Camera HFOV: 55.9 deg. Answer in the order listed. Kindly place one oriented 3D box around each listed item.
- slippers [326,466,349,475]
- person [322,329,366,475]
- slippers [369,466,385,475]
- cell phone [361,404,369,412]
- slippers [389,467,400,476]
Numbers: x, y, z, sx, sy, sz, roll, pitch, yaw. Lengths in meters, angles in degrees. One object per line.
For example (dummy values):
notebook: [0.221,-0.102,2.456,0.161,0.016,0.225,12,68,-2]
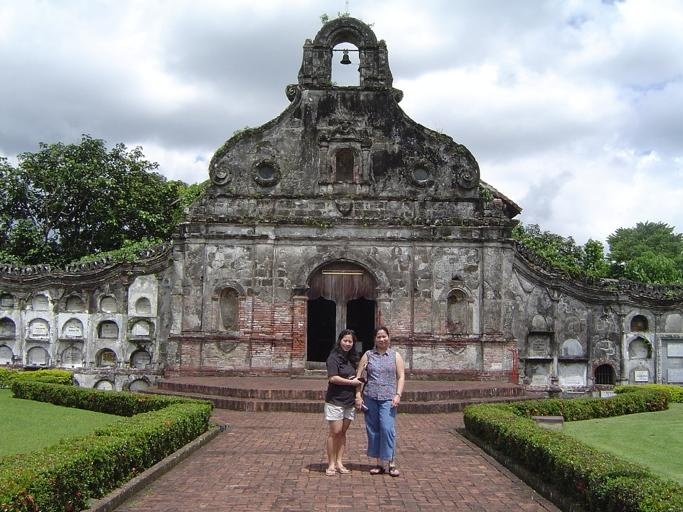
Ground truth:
slippers: [-0.065,3.565,10.699,0.166,0.075,0.312,10,-18,-42]
person: [0.050,2.438,10.853,0.635,2.412,0.486,0,-8,-1]
slippers: [0.612,3.585,10.864,0.248,0.137,0.357,0,-9,2]
cell phone: [0.390,2.558,10.833,0.098,0.097,0.121,0,2,-1]
slippers: [0.881,3.579,10.729,0.193,0.157,0.267,0,-9,-1]
